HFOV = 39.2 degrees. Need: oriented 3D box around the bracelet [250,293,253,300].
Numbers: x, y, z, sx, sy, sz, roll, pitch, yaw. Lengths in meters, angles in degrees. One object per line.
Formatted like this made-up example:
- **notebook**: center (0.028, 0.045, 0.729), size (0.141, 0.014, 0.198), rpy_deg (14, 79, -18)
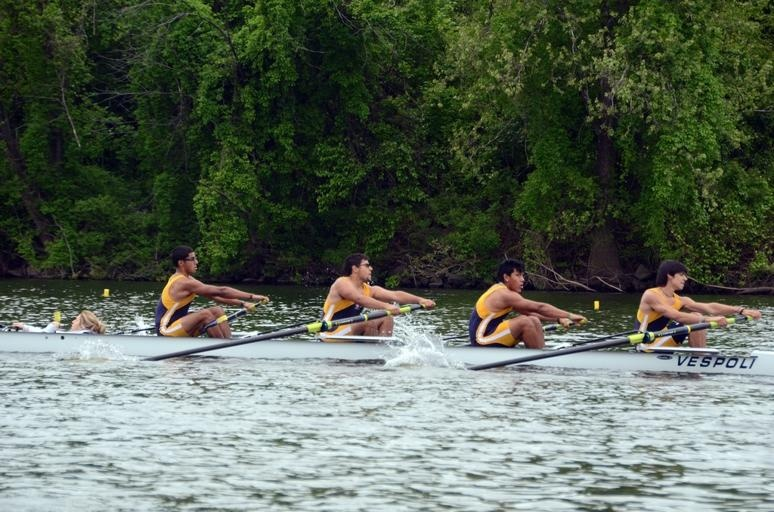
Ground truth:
- **bracelet**: center (-3.548, 1.074, 28.577), size (0.063, 0.163, 0.175), rpy_deg (-10, -4, 0)
